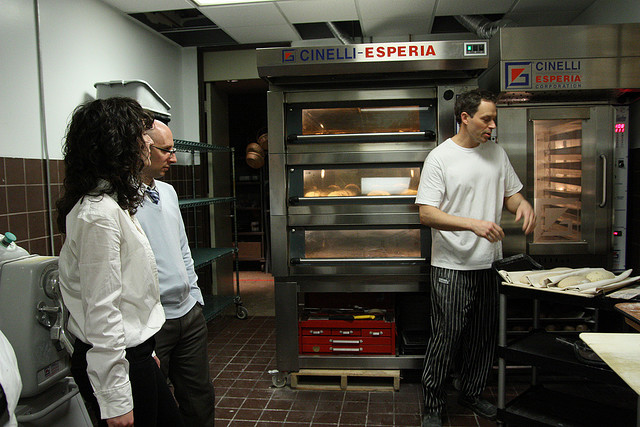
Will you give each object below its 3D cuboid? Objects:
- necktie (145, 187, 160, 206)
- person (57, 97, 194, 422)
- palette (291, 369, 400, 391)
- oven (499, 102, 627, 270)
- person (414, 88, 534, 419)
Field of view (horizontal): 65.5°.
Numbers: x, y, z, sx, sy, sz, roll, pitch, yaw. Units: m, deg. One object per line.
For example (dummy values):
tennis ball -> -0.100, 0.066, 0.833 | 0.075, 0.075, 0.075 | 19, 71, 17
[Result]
necktie -> -0.976, -0.078, 2.920 | 0.028, 0.086, 0.066 | -16, 4, 7
person -> -1.007, 0.300, 2.427 | 0.487, 1.641, 0.438 | -7, 12, -24
palette -> 0.204, 1.299, 4.017 | 0.853, 0.175, 0.224 | -1, 11, 6
oven -> 2.013, -0.147, 4.136 | 0.922, 1.179, 0.795 | 1, 0, 25
person -> 1.079, 0.322, 3.528 | 0.782, 2.240, 0.630 | 0, 11, 10
